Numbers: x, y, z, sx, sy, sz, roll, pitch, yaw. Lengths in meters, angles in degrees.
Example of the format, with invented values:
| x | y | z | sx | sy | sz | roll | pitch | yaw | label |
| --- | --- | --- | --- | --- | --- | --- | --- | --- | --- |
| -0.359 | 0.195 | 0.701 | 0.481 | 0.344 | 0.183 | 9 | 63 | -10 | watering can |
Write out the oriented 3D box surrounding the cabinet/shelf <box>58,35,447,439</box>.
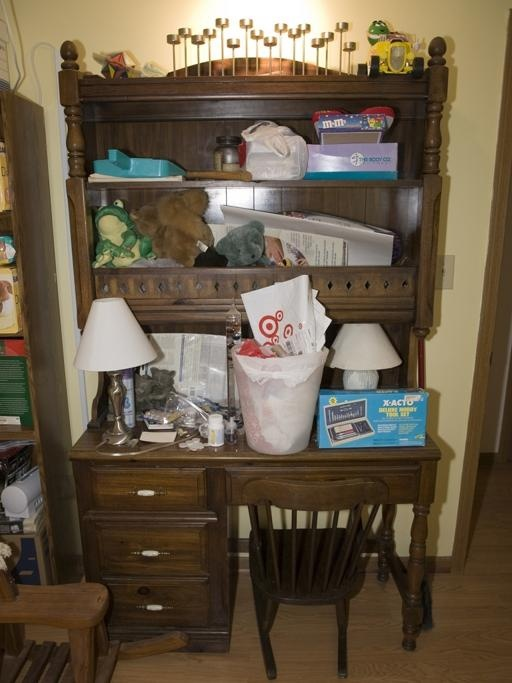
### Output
| x | y | z | sx | sy | sz | roll | pitch | yaw | label |
| --- | --- | --- | --- | --- | --- | --- | --- | --- | --- |
| -0.009 | -0.342 | 1.747 | 1.248 | 1.313 | 0.431 | -1 | 10 | 0 | cabinet/shelf |

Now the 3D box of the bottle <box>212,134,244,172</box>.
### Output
| x | y | z | sx | sy | sz | roll | pitch | yaw | label |
| --- | --- | --- | --- | --- | --- | --- | --- | --- | --- |
| -0.078 | -0.541 | 1.720 | 0.121 | 0.118 | 0.091 | -1 | 21 | 0 | bottle |

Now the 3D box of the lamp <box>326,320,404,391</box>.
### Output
| x | y | z | sx | sy | sz | roll | pitch | yaw | label |
| --- | --- | --- | --- | --- | --- | --- | --- | --- | --- |
| 0.312 | 0.024 | 1.863 | 0.213 | 0.218 | 0.208 | -5 | 13 | -13 | lamp |

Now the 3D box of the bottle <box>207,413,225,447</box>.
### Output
| x | y | z | sx | sy | sz | roll | pitch | yaw | label |
| --- | --- | --- | --- | --- | --- | --- | --- | --- | --- |
| -0.120 | 0.263 | 1.738 | 0.044 | 0.089 | 0.046 | 0 | 12 | 0 | bottle |

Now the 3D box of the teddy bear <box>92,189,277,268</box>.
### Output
| x | y | z | sx | sy | sz | roll | pitch | yaw | label |
| --- | --- | --- | --- | --- | --- | --- | --- | --- | --- |
| -0.243 | -0.313 | 1.761 | 0.379 | 0.147 | 0.284 | 1 | 3 | -10 | teddy bear |

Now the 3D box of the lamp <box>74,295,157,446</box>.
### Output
| x | y | z | sx | sy | sz | roll | pitch | yaw | label |
| --- | --- | --- | --- | --- | --- | --- | --- | --- | --- |
| -0.412 | 0.086 | 1.751 | 0.213 | 0.430 | 0.231 | 5 | 12 | 19 | lamp |
